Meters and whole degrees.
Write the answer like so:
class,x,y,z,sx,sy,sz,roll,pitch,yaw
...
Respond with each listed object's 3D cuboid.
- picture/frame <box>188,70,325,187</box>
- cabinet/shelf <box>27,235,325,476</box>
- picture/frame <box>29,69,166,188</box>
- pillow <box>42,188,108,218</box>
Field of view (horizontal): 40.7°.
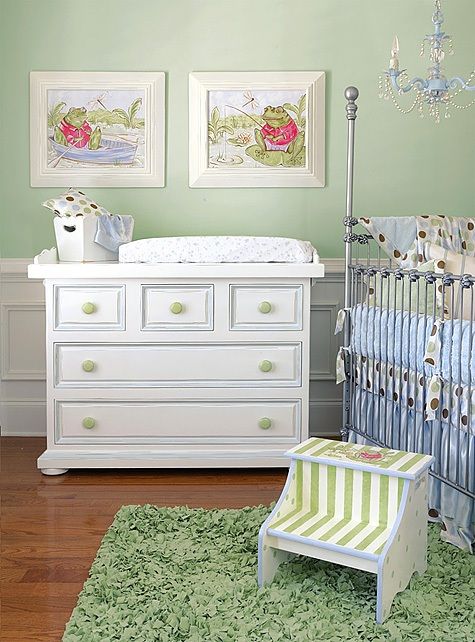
class,x,y,z,sx,sy,sz,roll,pitch,yaw
picture/frame,0.069,-0.910,2.944,0.593,0.442,0.040,0,3,-1
cabinet/shelf,-0.231,0.137,2.472,1.086,0.847,0.491,0,1,0
picture/frame,-0.646,-0.911,2.945,0.617,0.475,0.024,0,3,-2
pillow,-0.672,-0.481,2.667,0.180,0.052,0.181,40,29,21
